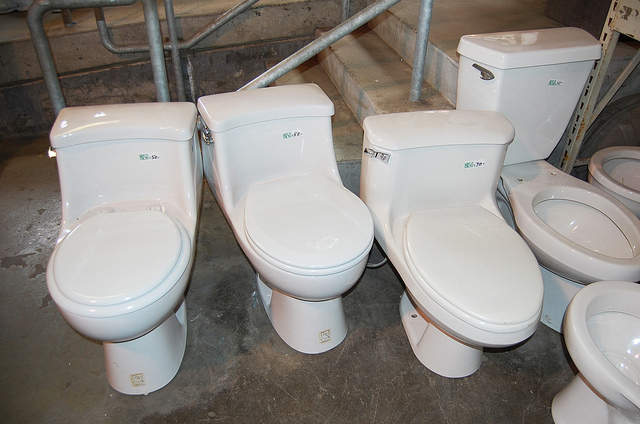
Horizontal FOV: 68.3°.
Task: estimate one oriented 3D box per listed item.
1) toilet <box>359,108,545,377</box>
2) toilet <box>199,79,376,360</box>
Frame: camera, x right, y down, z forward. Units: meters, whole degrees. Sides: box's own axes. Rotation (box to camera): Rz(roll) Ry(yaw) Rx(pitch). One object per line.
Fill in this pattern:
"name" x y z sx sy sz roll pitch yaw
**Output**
"toilet" 0.638 0.160 2.276 0.741 0.950 1.007 -10 45 -7
"toilet" -0.120 0.005 2.433 0.676 1.012 1.015 -21 45 -19
